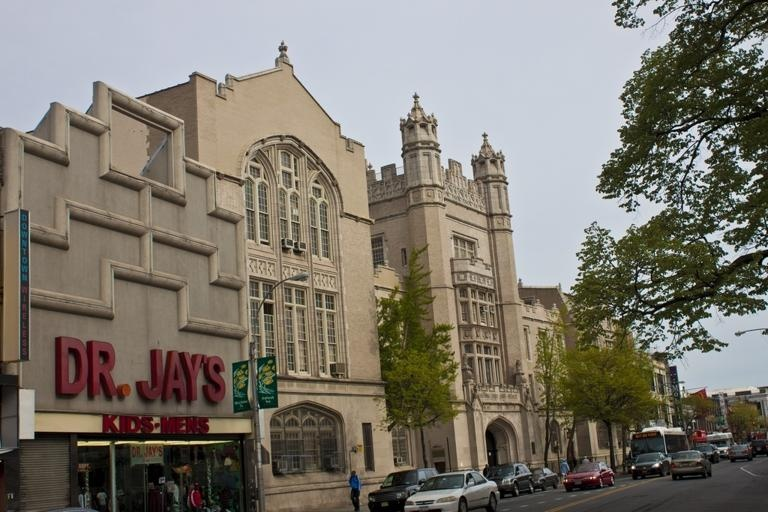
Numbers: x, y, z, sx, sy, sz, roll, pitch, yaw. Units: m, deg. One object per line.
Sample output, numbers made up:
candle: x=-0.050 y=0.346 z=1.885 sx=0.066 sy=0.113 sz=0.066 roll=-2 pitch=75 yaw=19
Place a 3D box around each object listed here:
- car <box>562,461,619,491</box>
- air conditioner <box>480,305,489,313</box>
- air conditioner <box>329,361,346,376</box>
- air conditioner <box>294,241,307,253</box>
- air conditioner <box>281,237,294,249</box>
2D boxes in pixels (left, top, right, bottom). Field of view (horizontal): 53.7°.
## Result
car: x=13.080 y=14.073 z=48.663 sx=2.490 sy=1.739 sz=3.418 roll=-17 pitch=-23 yaw=26
air conditioner: x=9.333 y=4.978 z=70.792 sx=0.702 sy=0.755 sz=0.703 roll=-4 pitch=-6 yaw=35
air conditioner: x=-2.777 y=7.185 z=47.867 sx=1.240 sy=1.136 sz=0.737 roll=9 pitch=-17 yaw=-41
air conditioner: x=-5.186 y=-0.373 z=47.161 sx=0.551 sy=0.633 sz=0.953 roll=-10 pitch=-13 yaw=28
air conditioner: x=-5.927 y=-0.701 z=46.590 sx=0.497 sy=0.577 sz=0.912 roll=-16 pitch=-23 yaw=25
